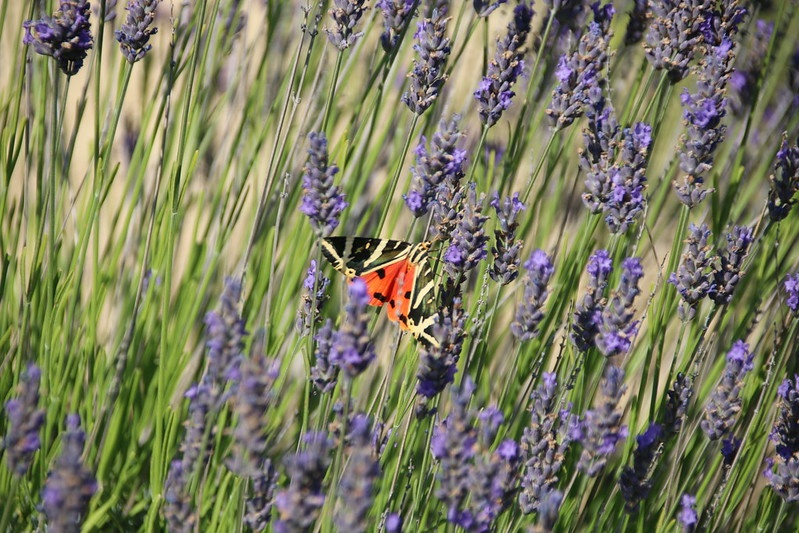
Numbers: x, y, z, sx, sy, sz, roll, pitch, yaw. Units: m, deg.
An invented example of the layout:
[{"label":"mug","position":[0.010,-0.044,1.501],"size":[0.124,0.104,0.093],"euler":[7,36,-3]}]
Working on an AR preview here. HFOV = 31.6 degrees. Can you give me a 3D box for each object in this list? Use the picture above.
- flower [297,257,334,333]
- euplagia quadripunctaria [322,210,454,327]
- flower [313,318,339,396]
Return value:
[{"label":"flower","position":[-0.311,0.100,5.199],"size":[0.107,0.278,0.102],"euler":[24,38,15]},{"label":"euplagia quadripunctaria","position":[-0.028,0.030,5.183],"size":[0.494,0.367,0.141],"euler":[33,-3,40]},{"label":"flower","position":[-0.251,0.309,4.857],"size":[0.093,0.214,0.260],"euler":[7,3,-2]}]
